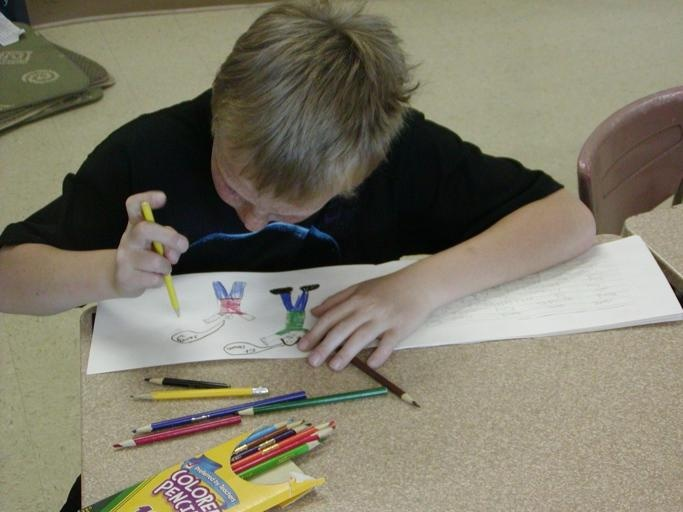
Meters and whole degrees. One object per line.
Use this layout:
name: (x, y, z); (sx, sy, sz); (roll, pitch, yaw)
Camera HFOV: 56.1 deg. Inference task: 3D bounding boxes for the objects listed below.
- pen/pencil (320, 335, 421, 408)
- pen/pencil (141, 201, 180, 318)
pen/pencil: (0.043, 0.184, 0.996); (0.148, 0.016, 0.017); (37, 86, 24)
pen/pencil: (-0.294, 0.011, 1.035); (0.020, 0.021, 0.209); (-16, 104, -3)
